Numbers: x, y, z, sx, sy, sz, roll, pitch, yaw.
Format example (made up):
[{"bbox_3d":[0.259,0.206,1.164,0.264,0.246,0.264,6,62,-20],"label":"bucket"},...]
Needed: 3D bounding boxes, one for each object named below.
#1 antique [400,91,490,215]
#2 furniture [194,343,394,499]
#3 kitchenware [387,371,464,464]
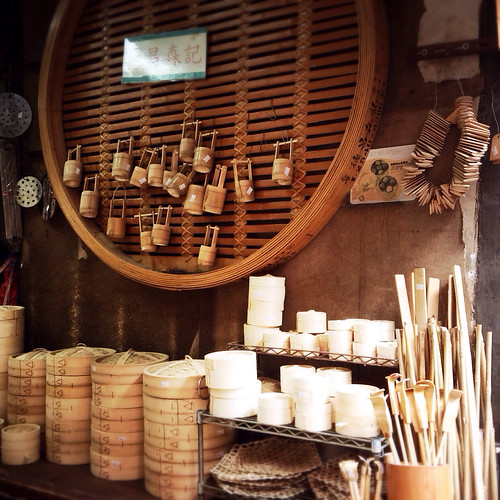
[{"bbox_3d":[1.016,-0.487,2.794,0.401,0.614,0.183,22,9,22],"label":"antique"},{"bbox_3d":[0.224,0.884,2.728,1.009,0.877,0.366,1,-1,21],"label":"furniture"},{"bbox_3d":[0.787,0.780,2.425,0.315,0.437,0.334,2,-3,21],"label":"kitchenware"}]
